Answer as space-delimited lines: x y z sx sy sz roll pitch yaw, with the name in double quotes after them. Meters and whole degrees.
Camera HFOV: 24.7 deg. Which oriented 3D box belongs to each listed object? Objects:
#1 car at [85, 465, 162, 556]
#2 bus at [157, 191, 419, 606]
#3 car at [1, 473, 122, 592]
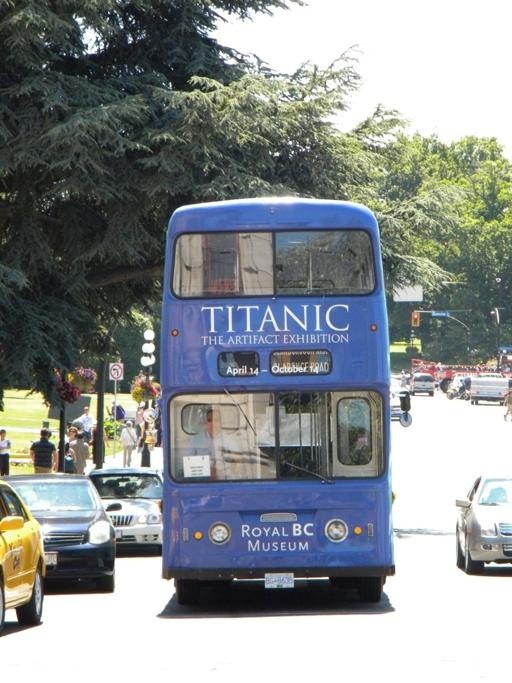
-1.982 2.609 18.491 1.001 1.033 1.995 0 -11 0 "car"
0.210 0.755 12.791 2.042 3.784 3.715 -1 -6 0 "bus"
-2.162 2.181 13.824 0.795 0.824 1.949 0 -13 -3 "car"
